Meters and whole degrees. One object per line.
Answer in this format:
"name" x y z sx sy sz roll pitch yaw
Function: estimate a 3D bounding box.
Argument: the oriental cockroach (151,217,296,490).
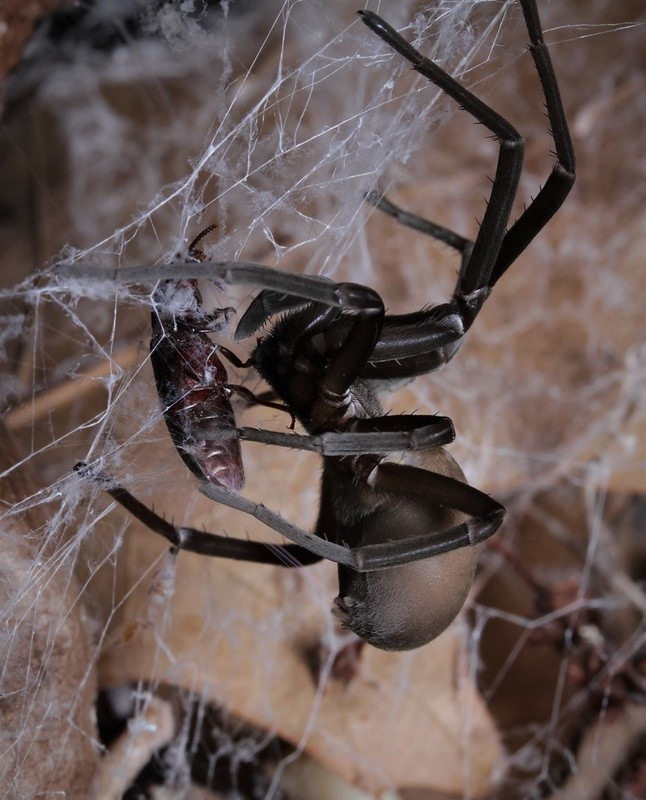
"oriental cockroach" -0.125 -0.031 0.847 0.080 0.206 0.177 -2 -15 -35
